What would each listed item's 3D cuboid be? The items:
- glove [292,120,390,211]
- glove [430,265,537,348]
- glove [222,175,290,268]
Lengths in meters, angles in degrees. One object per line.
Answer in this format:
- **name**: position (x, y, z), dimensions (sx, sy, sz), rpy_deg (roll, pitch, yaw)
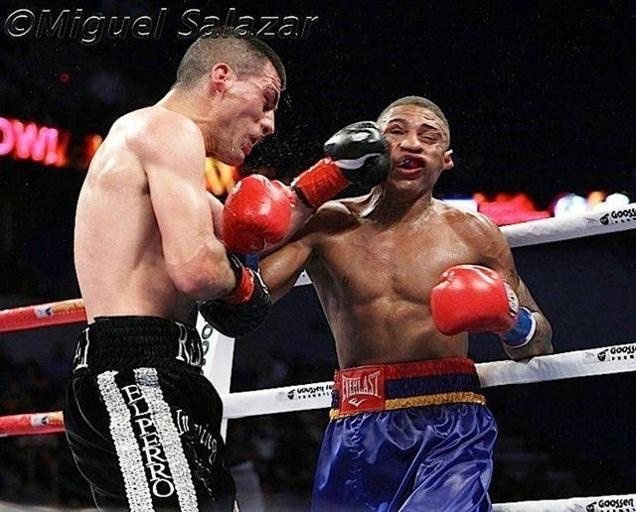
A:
- **glove**: position (0.083, -0.342, 2.984), dimensions (0.312, 0.171, 0.452), rpy_deg (6, -34, -38)
- **glove**: position (0.662, 0.227, 2.963), dimensions (0.569, 0.215, 0.293), rpy_deg (20, -29, -38)
- **glove**: position (-0.225, -0.115, 2.682), dimensions (0.188, 0.194, 0.306), rpy_deg (33, -30, 3)
